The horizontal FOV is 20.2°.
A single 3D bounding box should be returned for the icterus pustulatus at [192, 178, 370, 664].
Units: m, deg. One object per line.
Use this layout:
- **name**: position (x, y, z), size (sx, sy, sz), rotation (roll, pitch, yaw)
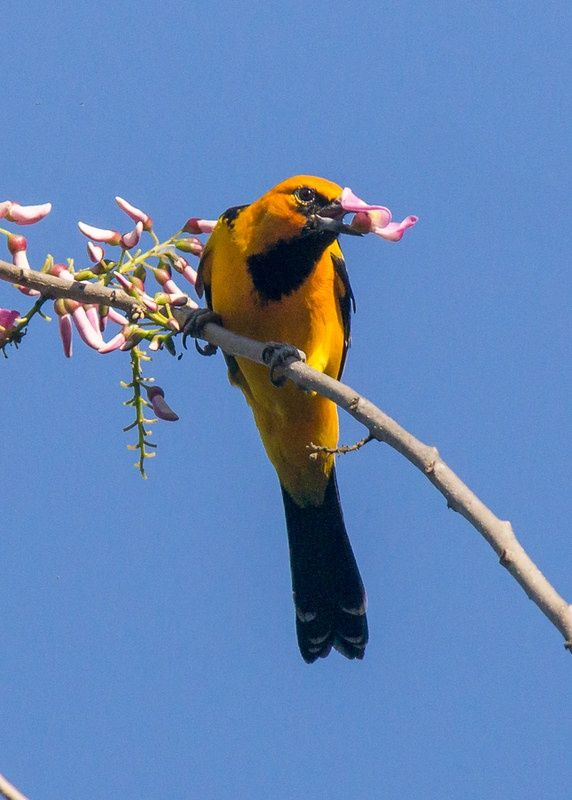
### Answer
- **icterus pustulatus**: position (0.022, -0.042, 6.138), size (0.528, 2.070, 0.623), rotation (-2, 19, 7)
